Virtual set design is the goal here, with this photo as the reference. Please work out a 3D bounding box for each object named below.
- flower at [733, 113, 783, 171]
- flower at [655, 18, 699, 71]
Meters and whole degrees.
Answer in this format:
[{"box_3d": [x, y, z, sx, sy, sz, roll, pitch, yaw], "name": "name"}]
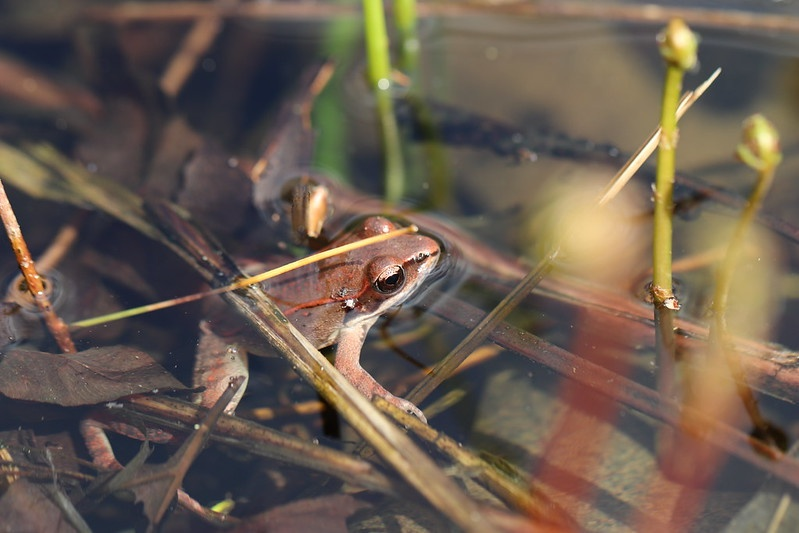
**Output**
[{"box_3d": [1.927, -0.636, 4.449, 0.265, 0.334, 0.210, -7, 17, 38], "name": "flower"}, {"box_3d": [1.459, -1.144, 4.299, 0.179, 0.281, 0.151, 10, 43, 11], "name": "flower"}]
